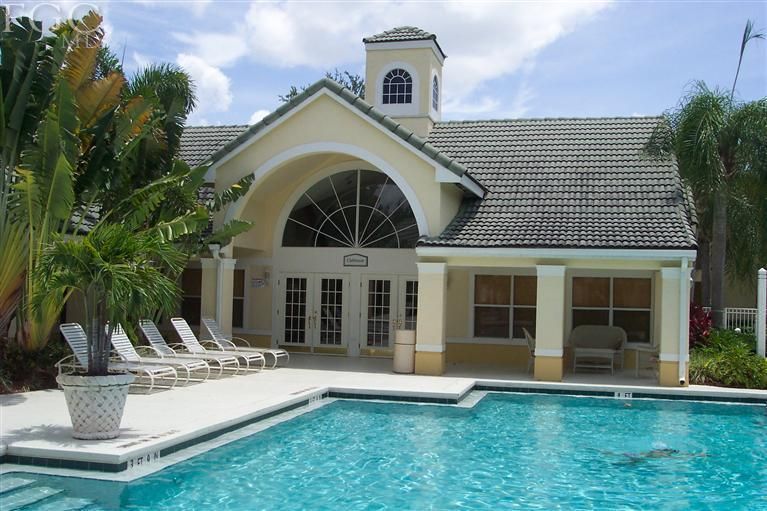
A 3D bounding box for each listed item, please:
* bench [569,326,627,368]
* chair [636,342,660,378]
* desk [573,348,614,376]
[{"bbox_3d":[7.241,3.116,19.102,1.760,1.466,1.104,-1,-7,35],"label":"bench"},{"bbox_3d":[8.806,3.384,18.766,0.632,0.863,2.412,4,2,26],"label":"chair"},{"bbox_3d":[7.174,3.425,19.094,1.255,0.671,2.184,4,2,22],"label":"desk"}]
